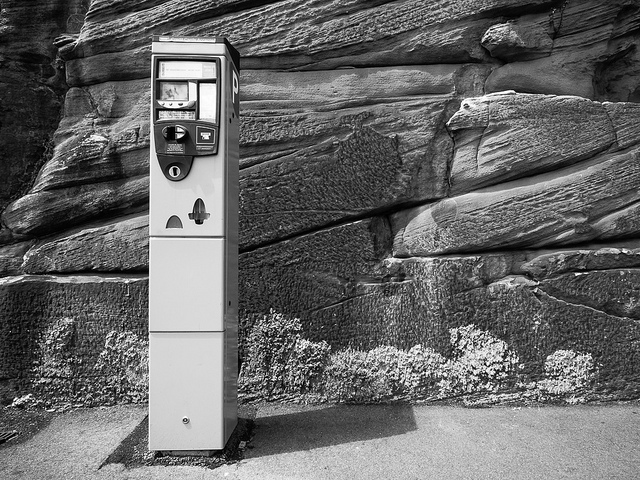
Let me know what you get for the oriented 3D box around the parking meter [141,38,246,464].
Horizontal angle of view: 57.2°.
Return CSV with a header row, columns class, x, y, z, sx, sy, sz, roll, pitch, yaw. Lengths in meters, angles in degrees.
class,x,y,z,sx,sy,sz,roll,pitch,yaw
parking meter,-0.978,0.128,4.611,0.640,2.892,0.992,0,0,0
